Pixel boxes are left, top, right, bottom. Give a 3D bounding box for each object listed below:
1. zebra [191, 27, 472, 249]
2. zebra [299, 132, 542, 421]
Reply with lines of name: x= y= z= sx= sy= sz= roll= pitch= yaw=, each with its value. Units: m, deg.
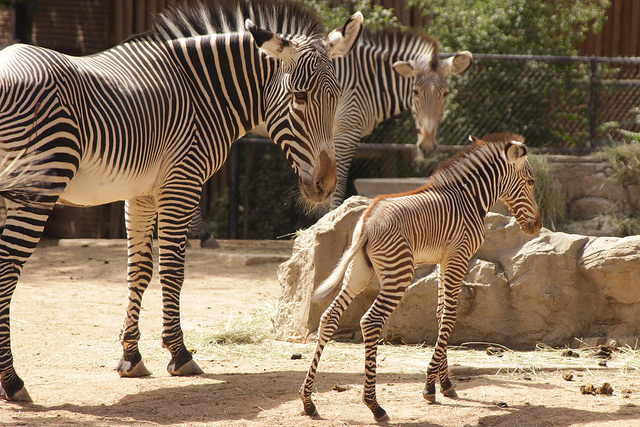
zebra: x=0.028 y=-1.215 z=16.601 sx=3.640 sy=2.762 sz=0.926 roll=4 pitch=4 yaw=-15
zebra: x=1.069 y=0.644 z=13.073 sx=2.392 sy=2.316 sz=0.819 roll=5 pitch=5 yaw=-31
